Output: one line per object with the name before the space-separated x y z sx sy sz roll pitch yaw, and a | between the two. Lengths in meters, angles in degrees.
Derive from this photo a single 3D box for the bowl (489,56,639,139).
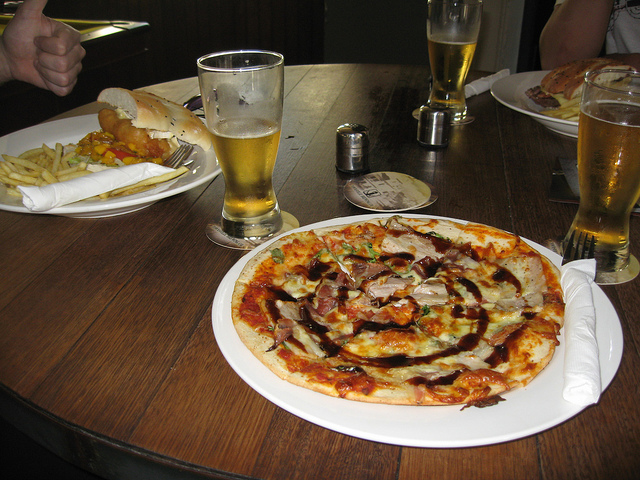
bowl | 0.781 -0.515 1.582 0.462 0.121 0.464 -9 37 7

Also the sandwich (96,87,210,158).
sandwich | -0.535 -0.388 1.509 0.348 0.133 0.293 28 33 24

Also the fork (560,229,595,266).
fork | 0.509 0.002 0.953 0.058 0.110 0.016 -15 42 -25

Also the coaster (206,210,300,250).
coaster | -0.145 -0.049 1.104 0.190 0.082 0.136 13 22 37

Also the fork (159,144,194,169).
fork | -0.404 -0.237 1.315 0.035 0.022 0.145 15 37 7

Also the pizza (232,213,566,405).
pizza | 0.143 0.097 0.821 0.589 0.050 0.435 -2 40 -2
